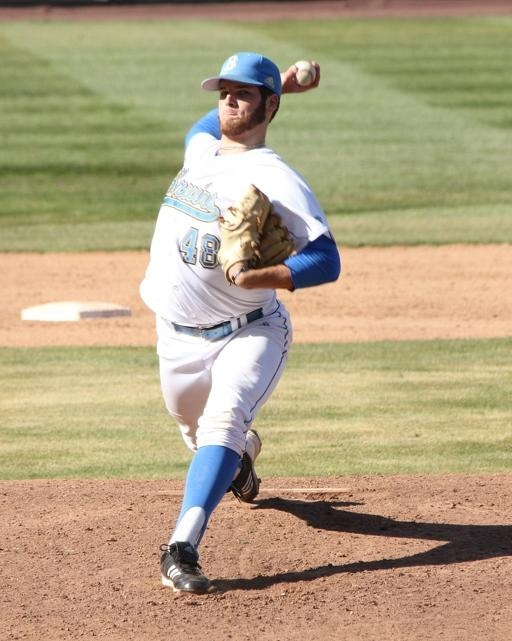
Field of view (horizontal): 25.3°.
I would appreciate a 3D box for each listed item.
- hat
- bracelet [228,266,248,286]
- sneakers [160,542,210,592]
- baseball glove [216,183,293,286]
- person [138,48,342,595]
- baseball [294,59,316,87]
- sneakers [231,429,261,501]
[{"bbox_3d":[-0.037,-0.977,4.568,0.282,0.118,0.202,14,-4,-27],"label":"hat"},{"bbox_3d":[-0.074,-0.169,4.289,0.022,0.068,0.074,38,-4,12],"label":"bracelet"},{"bbox_3d":[-0.259,0.881,4.102,0.135,0.198,0.158,-6,15,-24],"label":"sneakers"},{"bbox_3d":[0.008,-0.331,4.314,0.332,0.337,0.175,14,5,-38],"label":"baseball glove"},{"bbox_3d":[-0.072,-0.052,4.457,0.757,1.973,1.145,-1,14,-6],"label":"person"},{"bbox_3d":[0.229,-1.177,5.447,0.144,0.134,0.127,1,19,5],"label":"baseball"},{"bbox_3d":[-0.083,0.636,4.979,0.125,0.307,0.150,11,21,31],"label":"sneakers"}]
